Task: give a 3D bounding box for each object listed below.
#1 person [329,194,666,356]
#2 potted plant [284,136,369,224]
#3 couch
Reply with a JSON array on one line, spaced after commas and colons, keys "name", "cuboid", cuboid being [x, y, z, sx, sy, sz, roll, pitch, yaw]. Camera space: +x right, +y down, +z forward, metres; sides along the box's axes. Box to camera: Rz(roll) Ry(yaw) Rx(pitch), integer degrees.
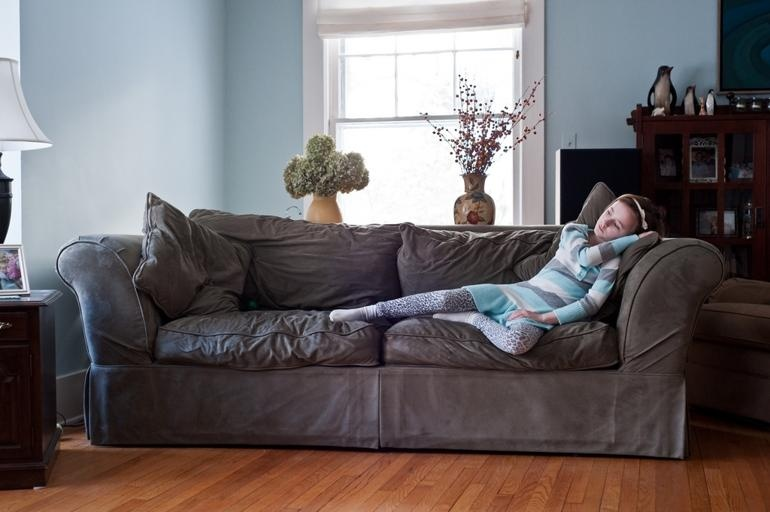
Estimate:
[{"name": "person", "cuboid": [0.595, 0.081, 3.467, 1.562, 0.661, 0.802, -1, 5, -14]}, {"name": "potted plant", "cuboid": [-0.411, -0.474, 4.559, 0.607, 0.667, 0.589, 0, -3, -35]}, {"name": "couch", "cuboid": [0.019, 0.283, 3.625, 3.276, 1.201, 1.089, 1, 13, 4]}]
